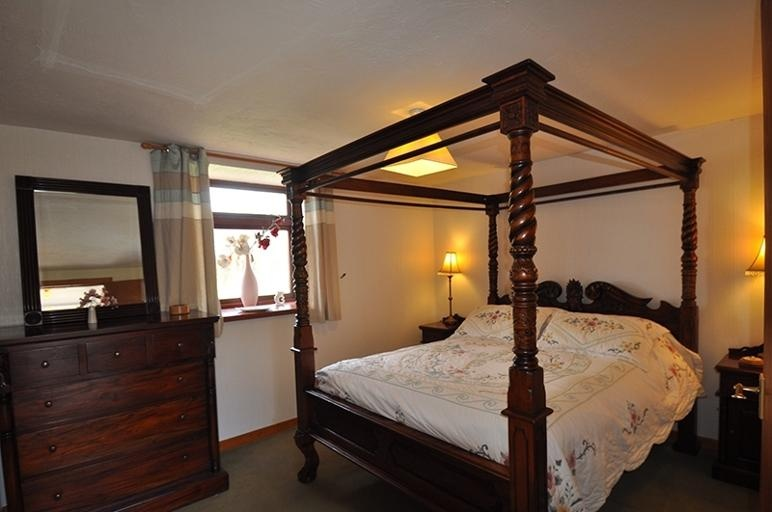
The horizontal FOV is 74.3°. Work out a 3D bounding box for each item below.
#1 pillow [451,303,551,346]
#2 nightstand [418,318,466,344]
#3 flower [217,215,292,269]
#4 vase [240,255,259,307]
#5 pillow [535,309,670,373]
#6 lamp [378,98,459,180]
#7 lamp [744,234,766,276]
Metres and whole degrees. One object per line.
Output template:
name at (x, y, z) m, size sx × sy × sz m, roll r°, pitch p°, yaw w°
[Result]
pillow at (1.090, 0.650, 4.772) m, size 0.695 × 0.167 × 0.689 m, roll -7°, pitch 0°, yaw 4°
nightstand at (0.750, 0.902, 6.368) m, size 0.411 × 0.222 × 0.408 m, roll 1°, pitch 3°, yaw 41°
flower at (-1.330, -0.201, 5.474) m, size 0.290 × 0.335 × 0.794 m, roll 26°, pitch 41°, yaw 31°
vase at (-1.433, 0.258, 5.369) m, size 0.131 × 0.569 × 0.152 m, roll -2°, pitch 1°, yaw 42°
pillow at (1.939, 0.762, 4.701) m, size 0.615 × 0.131 × 0.571 m, roll 6°, pitch 34°, yaw 43°
lamp at (0.306, -0.957, 4.571) m, size 0.628 × 0.550 × 0.605 m, roll -9°, pitch -12°, yaw 41°
lamp at (2.925, 0.028, 4.053) m, size 0.132 × 0.270 × 1.327 m, roll -2°, pitch 0°, yaw 35°
